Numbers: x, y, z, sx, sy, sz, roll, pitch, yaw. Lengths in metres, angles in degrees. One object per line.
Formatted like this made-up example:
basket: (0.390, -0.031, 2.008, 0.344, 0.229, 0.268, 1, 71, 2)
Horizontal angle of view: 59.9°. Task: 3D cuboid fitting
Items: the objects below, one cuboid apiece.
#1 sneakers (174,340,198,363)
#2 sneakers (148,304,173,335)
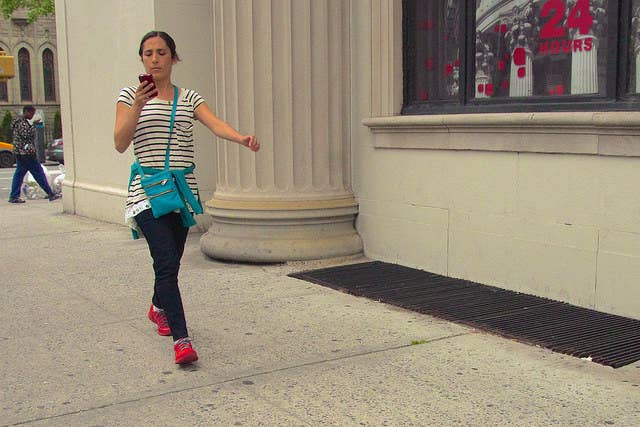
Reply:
sneakers: (-1.094, 1.121, 4.493, 0.166, 0.174, 0.138, -4, 10, -13)
sneakers: (-1.495, 0.996, 5.204, 0.144, 0.139, 0.362, -2, 32, -47)
